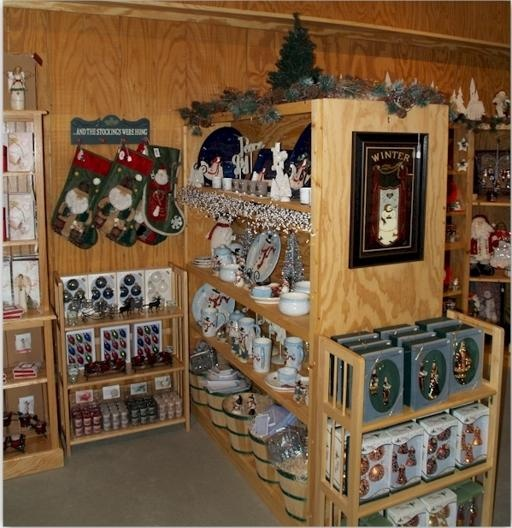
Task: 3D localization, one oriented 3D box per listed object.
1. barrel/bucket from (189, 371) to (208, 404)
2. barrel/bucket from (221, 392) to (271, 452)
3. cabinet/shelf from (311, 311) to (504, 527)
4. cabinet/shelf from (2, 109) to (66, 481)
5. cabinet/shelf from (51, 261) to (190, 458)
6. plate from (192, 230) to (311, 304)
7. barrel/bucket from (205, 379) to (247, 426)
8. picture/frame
[{"bbox_3d":[-0.434,0.942,3.566,0.214,0.194,0.244,1,3,-5],"label":"barrel/bucket"},{"bbox_3d":[-0.060,0.992,2.915,0.316,0.264,0.337,1,4,0],"label":"barrel/bucket"},{"bbox_3d":[0.628,0.678,2.054,0.918,1.117,0.374,-4,13,-23],"label":"cabinet/shelf"},{"bbox_3d":[-1.482,0.179,3.039,0.380,2.263,0.584,-4,8,-24],"label":"cabinet/shelf"},{"bbox_3d":[-0.936,0.626,3.367,0.870,1.106,0.363,-3,5,-28],"label":"cabinet/shelf"},{"bbox_3d":[0.016,0.007,3.057,0.198,0.375,0.824,3,2,-32],"label":"plate"},{"bbox_3d":[-0.200,0.946,3.256,0.306,0.248,0.296,2,2,0],"label":"barrel/bucket"},{"bbox_3d":[0.584,-0.311,2.157,0.590,0.691,0.032,-5,10,-33],"label":"picture/frame"}]
